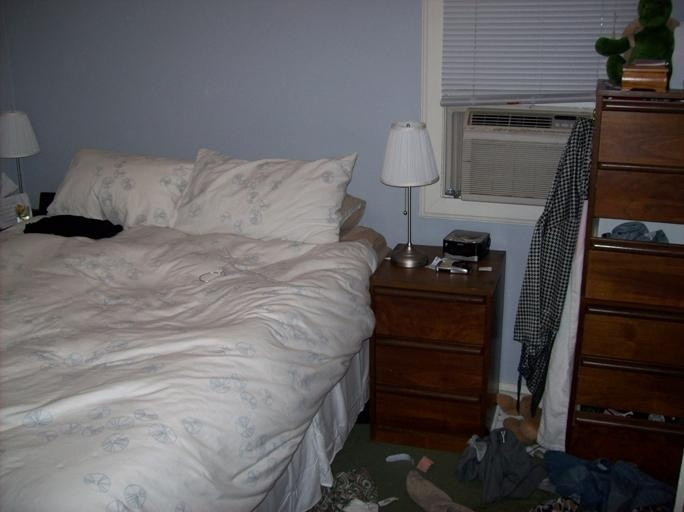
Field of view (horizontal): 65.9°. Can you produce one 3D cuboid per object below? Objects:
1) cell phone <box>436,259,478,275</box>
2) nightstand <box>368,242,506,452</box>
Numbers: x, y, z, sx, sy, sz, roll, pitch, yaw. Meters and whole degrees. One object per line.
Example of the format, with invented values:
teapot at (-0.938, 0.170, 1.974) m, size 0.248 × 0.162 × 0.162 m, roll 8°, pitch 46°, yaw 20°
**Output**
cell phone at (0.527, 0.051, 2.459) m, size 0.111 × 0.028 × 0.086 m, roll 4°, pitch 16°, yaw 20°
nightstand at (0.456, 0.459, 2.701) m, size 0.624 × 0.819 × 0.638 m, roll 7°, pitch 15°, yaw 25°
